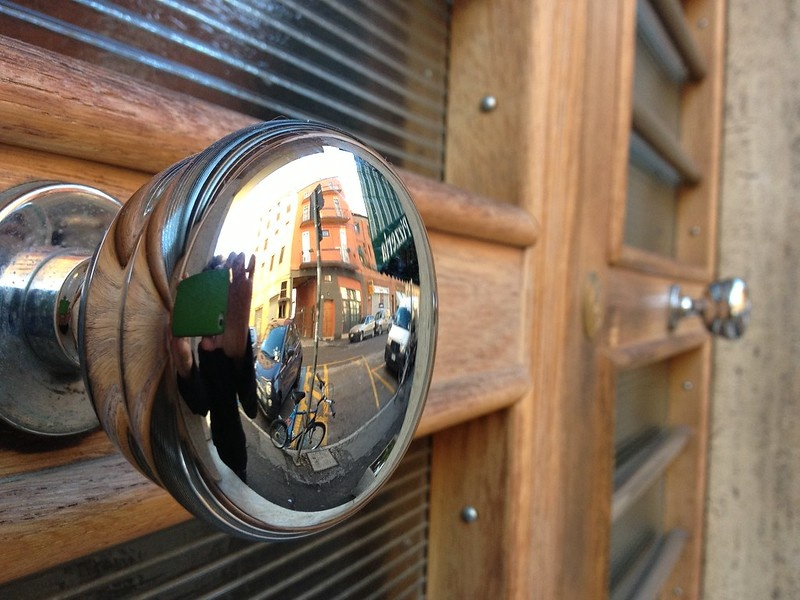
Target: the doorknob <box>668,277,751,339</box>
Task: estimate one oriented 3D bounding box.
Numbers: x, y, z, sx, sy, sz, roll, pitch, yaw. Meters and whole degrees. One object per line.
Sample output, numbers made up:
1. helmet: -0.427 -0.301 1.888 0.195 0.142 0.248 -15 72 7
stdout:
1. doorknob: 0.570 0.021 1.023 0.131 0.125 0.110 1 -2 34
